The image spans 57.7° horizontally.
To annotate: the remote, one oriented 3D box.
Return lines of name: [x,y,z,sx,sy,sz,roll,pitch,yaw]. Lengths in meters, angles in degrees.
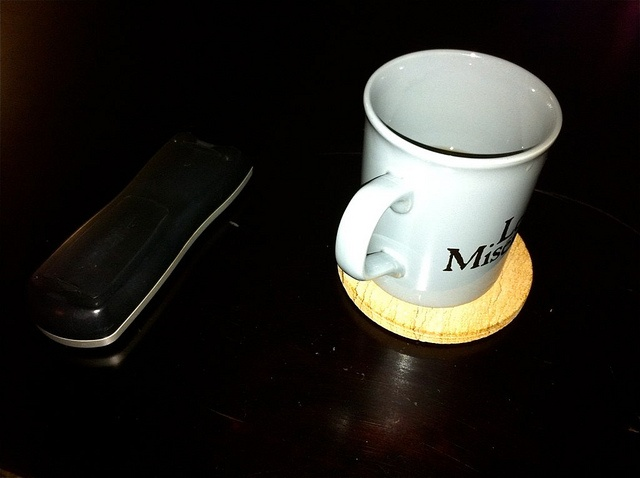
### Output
remote: [-0.211,-0.001,0.741,0.121,0.073,0.331,22,56,14]
